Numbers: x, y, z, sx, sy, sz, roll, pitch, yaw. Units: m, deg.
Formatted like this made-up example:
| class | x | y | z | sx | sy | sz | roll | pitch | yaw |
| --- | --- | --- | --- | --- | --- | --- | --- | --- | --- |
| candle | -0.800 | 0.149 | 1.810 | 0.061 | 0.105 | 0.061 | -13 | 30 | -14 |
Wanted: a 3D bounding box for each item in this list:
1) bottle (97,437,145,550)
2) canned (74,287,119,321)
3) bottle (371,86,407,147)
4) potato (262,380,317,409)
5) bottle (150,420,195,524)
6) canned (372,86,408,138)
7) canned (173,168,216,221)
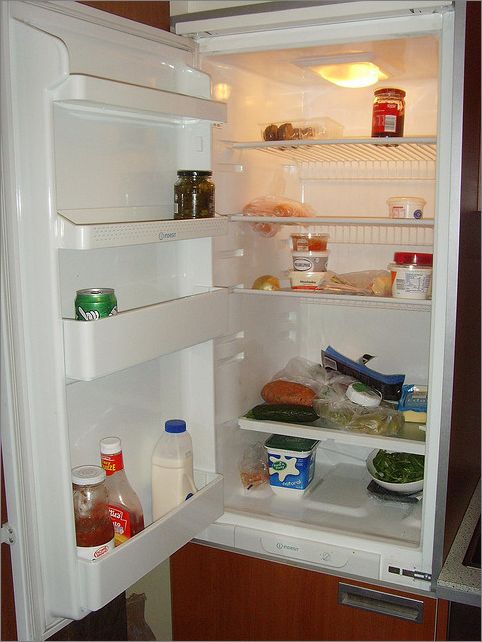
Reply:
| class | x | y | z | sx | sy | sz | roll | pitch | yaw |
| --- | --- | --- | --- | --- | --- | --- | --- | --- | --- |
| bottle | -0.211 | 0.329 | 0.990 | 0.057 | 0.228 | 0.087 | -11 | 1 | -42 |
| canned | -0.212 | -0.025 | 0.800 | 0.049 | 0.050 | 0.050 | -1 | 12 | -5 |
| bottle | 0.318 | -0.439 | 1.183 | 0.069 | 0.113 | 0.072 | 1 | 8 | 0 |
| potato | 0.148 | 0.192 | 1.580 | 0.142 | 0.071 | 0.114 | 10 | 20 | 35 |
| bottle | -0.136 | 0.313 | 1.106 | 0.089 | 0.179 | 0.078 | -3 | 5 | -15 |
| canned | 0.318 | -0.443 | 1.184 | 0.071 | 0.109 | 0.071 | -15 | 24 | -39 |
| canned | -0.093 | -0.249 | 1.077 | 0.082 | 0.091 | 0.081 | -1 | 11 | -17 |
